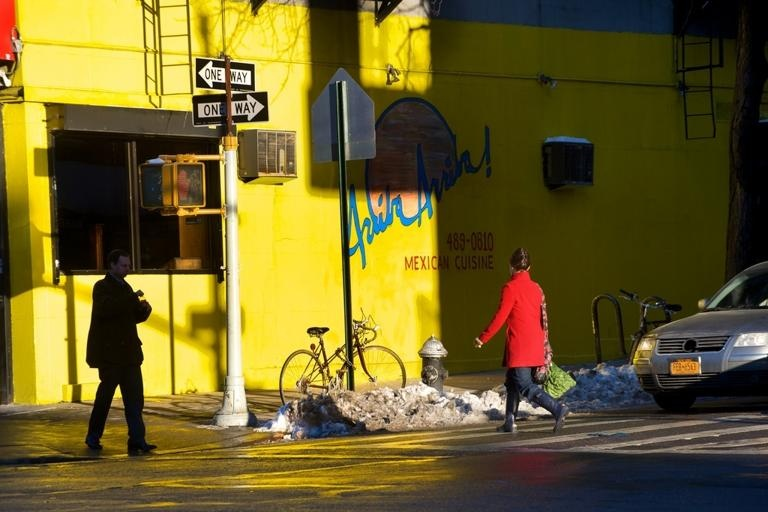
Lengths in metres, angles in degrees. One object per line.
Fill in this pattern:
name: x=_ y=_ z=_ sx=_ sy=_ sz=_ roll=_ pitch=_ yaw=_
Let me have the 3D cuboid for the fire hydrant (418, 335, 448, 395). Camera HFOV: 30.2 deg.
fire hydrant: x=0.830 y=1.848 z=24.309 sx=0.471 sy=0.781 sz=0.823 roll=1 pitch=-1 yaw=1

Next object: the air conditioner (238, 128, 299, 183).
air conditioner: x=-2.378 y=-1.871 z=26.730 sx=1.518 sy=1.326 sz=0.795 roll=2 pitch=-4 yaw=-40

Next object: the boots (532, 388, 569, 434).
boots: x=2.569 y=2.417 z=22.023 sx=0.676 sy=0.546 sz=0.255 roll=23 pitch=16 yaw=22

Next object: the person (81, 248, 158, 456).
person: x=-4.097 y=1.444 z=21.744 sx=1.046 sy=3.079 sz=1.046 roll=-1 pitch=-5 yaw=-3

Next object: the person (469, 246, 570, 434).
person: x=2.234 y=1.292 z=22.275 sx=1.356 sy=2.823 sz=1.079 roll=0 pitch=-1 yaw=8
